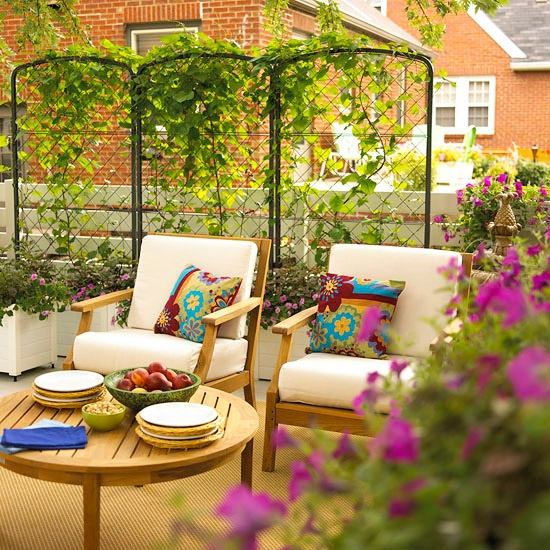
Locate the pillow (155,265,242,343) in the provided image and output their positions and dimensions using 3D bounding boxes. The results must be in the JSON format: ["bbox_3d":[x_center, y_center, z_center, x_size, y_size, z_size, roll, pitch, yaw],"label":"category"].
[{"bbox_3d":[-0.474,0.176,3.341,0.488,0.427,0.142,8,-20,39],"label":"pillow"}]

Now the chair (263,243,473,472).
[{"bbox_3d":[0.400,0.367,2.904,1.257,1.144,0.923,4,7,23],"label":"chair"}]

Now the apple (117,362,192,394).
[{"bbox_3d":[-0.482,0.415,2.317,0.273,0.102,0.216,4,7,8],"label":"apple"}]

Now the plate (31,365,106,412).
[{"bbox_3d":[-0.885,0.471,2.451,0.230,0.056,0.198,2,14,2],"label":"plate"}]

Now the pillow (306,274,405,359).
[{"bbox_3d":[0.429,0.213,3.063,0.624,0.441,0.407,3,8,7],"label":"pillow"}]

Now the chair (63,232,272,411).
[{"bbox_3d":[-0.735,0.216,3.476,0.857,1.079,1.092,1,3,20],"label":"chair"}]

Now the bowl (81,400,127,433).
[{"bbox_3d":[-0.661,0.544,2.170,0.139,0.068,0.131,2,0,0],"label":"bowl"}]

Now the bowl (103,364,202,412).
[{"bbox_3d":[-0.533,0.484,2.401,0.398,0.172,0.313,0,8,-22],"label":"bowl"}]
